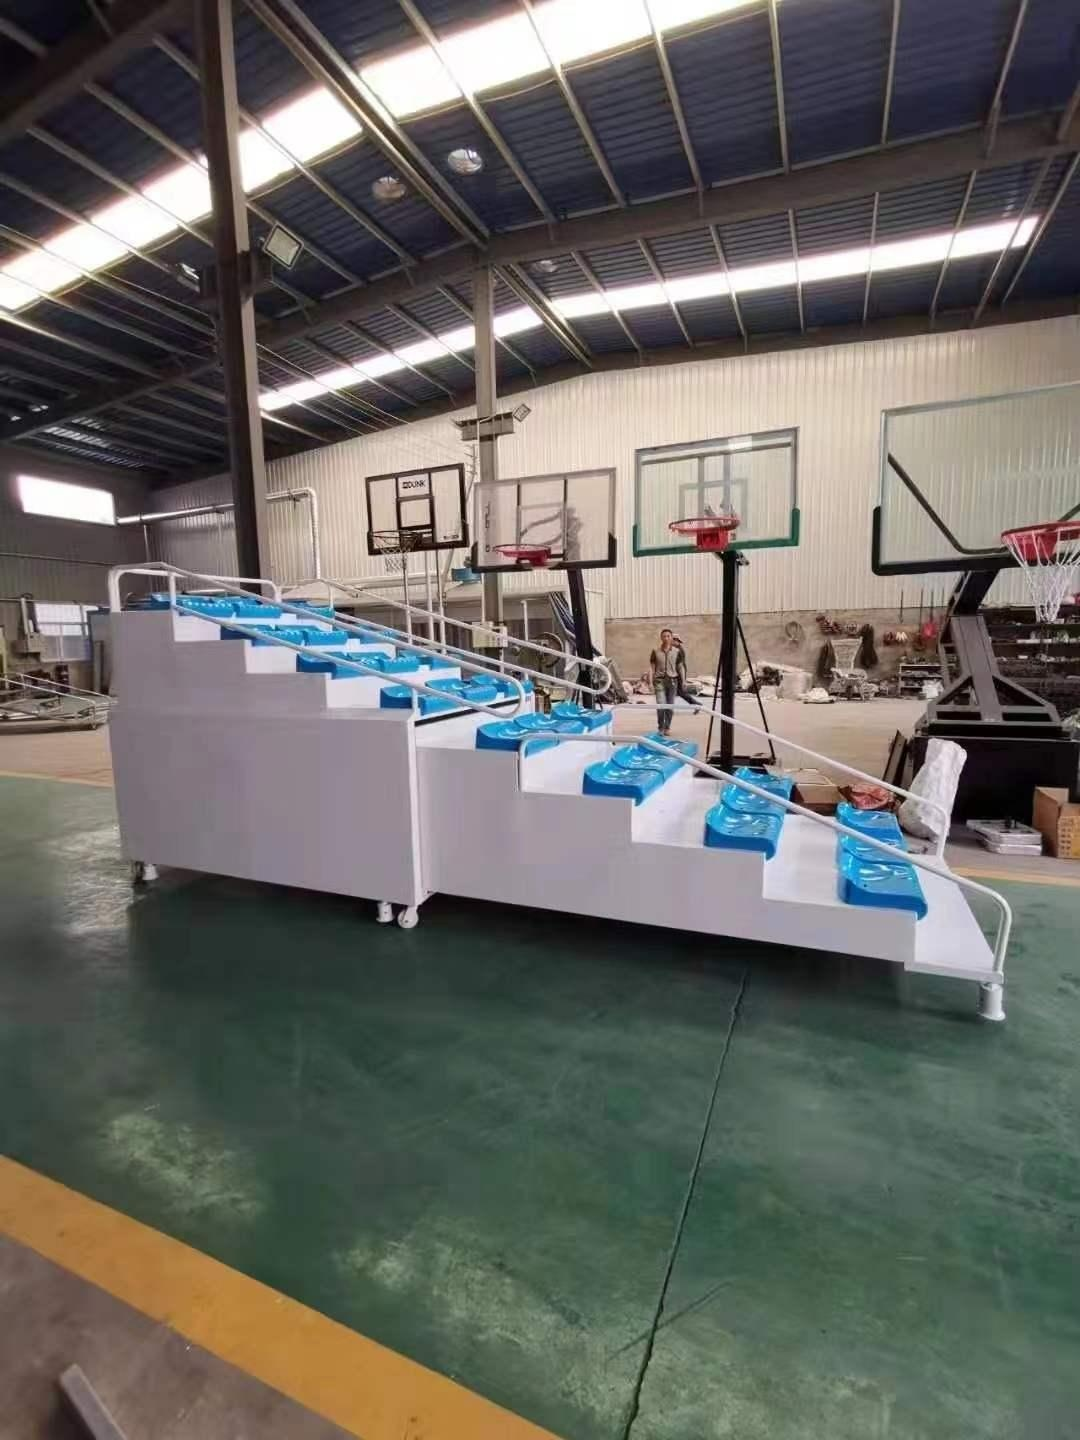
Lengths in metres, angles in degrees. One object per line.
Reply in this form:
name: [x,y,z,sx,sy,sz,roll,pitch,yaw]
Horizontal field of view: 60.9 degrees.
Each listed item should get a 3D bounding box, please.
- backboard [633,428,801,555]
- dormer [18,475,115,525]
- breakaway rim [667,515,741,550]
backboard: [1.048,-1.417,5.838,0.846,0.756,1.529,-5,8,-17]
dormer: [-9.277,-4.281,17.967,0.274,0.788,2.278,0,8,16]
breakaway rim: [0.996,-1.113,5.418,0.389,0.169,0.446,9,19,30]
